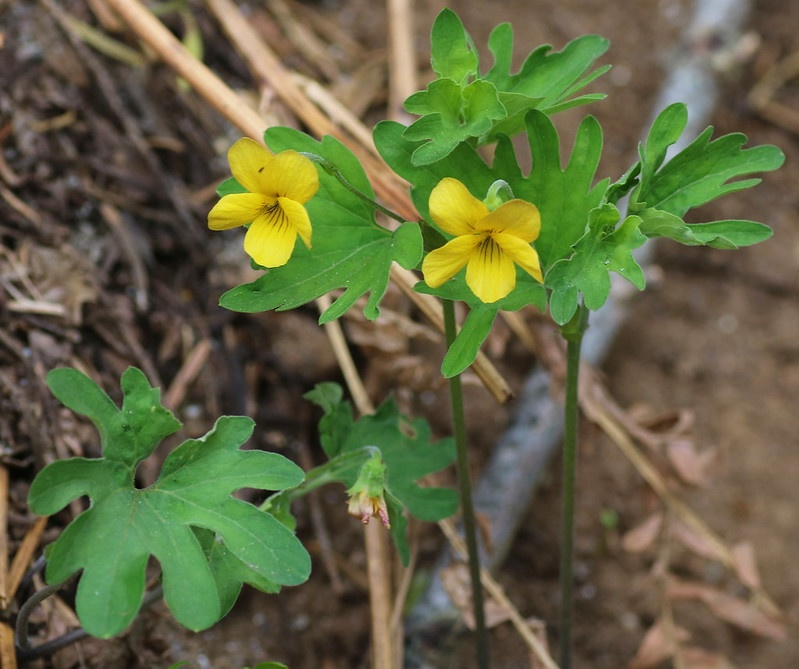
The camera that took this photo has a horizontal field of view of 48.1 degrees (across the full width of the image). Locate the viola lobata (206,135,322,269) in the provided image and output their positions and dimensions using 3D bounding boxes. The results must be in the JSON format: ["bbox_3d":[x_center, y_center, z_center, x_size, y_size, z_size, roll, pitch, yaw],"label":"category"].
[{"bbox_3d":[-0.270,-0.275,1.779,0.168,0.135,0.210,23,74,19],"label":"viola lobata"}]
